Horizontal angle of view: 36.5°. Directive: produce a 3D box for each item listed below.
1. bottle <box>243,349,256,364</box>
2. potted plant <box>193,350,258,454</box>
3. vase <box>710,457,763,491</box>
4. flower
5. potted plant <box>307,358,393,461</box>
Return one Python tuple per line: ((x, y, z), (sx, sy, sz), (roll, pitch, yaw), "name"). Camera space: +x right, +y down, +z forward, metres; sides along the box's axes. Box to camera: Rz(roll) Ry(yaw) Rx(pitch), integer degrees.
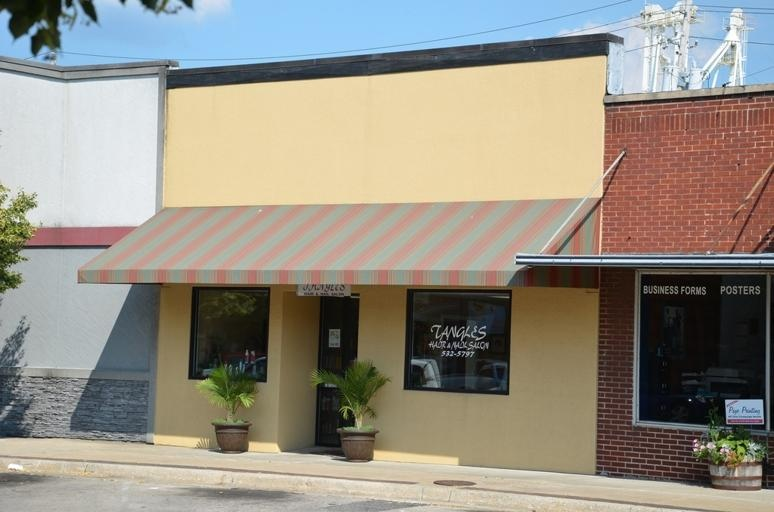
((-2.946, 2.161, 25.341), (0.276, 0.275, 0.508), (3, 0, -6), "bottle")
((-3.365, 3.231, 25.334), (1.841, 2.069, 1.590), (1, -6, -7), "potted plant")
((6.528, 4.090, 21.938), (0.630, 0.387, 0.621), (2, -4, -24), "vase")
((6.348, 3.469, 22.092), (0.958, 0.586, 0.941), (2, -2, -6), "flower")
((-0.612, 3.283, 24.777), (1.950, 2.184, 1.892), (0, -8, -2), "potted plant")
